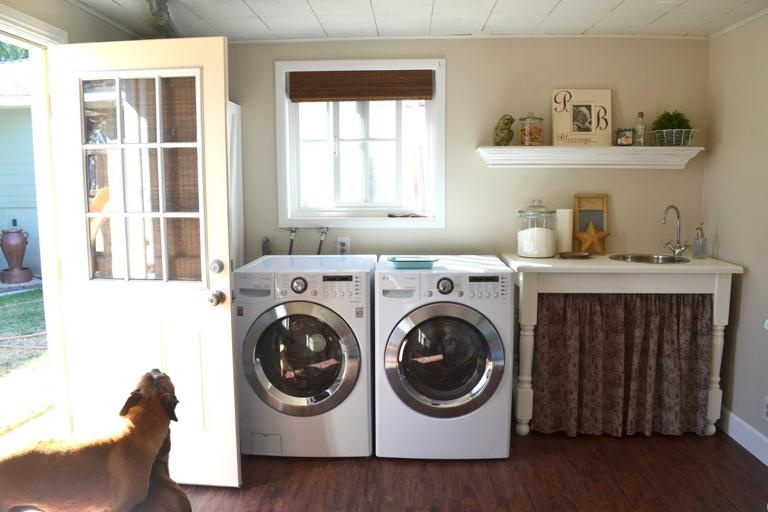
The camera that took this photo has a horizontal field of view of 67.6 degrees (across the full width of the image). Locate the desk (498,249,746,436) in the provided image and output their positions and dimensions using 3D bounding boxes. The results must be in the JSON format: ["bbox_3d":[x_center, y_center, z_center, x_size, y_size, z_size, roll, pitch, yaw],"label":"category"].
[{"bbox_3d":[1.808,0.990,4.839,1.962,1.626,1.194,0,10,2],"label":"desk"}]

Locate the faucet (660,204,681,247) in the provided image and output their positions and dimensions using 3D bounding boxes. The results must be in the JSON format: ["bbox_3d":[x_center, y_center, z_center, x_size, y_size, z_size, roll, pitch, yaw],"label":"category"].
[{"bbox_3d":[2.317,-0.249,4.606,0.156,0.337,0.291,2,9,26],"label":"faucet"}]

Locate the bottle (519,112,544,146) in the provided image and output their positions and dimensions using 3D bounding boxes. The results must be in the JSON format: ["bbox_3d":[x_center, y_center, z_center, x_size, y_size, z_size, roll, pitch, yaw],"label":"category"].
[{"bbox_3d":[1.181,-1.044,4.710,0.232,0.268,0.236,0,5,9],"label":"bottle"}]

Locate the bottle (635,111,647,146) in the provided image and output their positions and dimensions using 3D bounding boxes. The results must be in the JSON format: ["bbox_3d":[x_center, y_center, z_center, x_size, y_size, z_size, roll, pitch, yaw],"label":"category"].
[{"bbox_3d":[2.072,-1.026,4.626,0.084,0.263,0.176,2,9,25],"label":"bottle"}]

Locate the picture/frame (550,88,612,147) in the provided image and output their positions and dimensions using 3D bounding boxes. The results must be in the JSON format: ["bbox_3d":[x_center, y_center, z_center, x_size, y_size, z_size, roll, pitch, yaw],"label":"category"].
[{"bbox_3d":[1.604,-1.146,4.660,0.476,0.490,0.036,0,0,-2],"label":"picture/frame"}]

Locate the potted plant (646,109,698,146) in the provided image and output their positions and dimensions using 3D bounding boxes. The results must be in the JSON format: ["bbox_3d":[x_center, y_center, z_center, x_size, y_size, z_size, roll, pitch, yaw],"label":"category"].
[{"bbox_3d":[2.302,-1.013,4.577,0.291,0.296,0.296,-4,7,-7],"label":"potted plant"}]
